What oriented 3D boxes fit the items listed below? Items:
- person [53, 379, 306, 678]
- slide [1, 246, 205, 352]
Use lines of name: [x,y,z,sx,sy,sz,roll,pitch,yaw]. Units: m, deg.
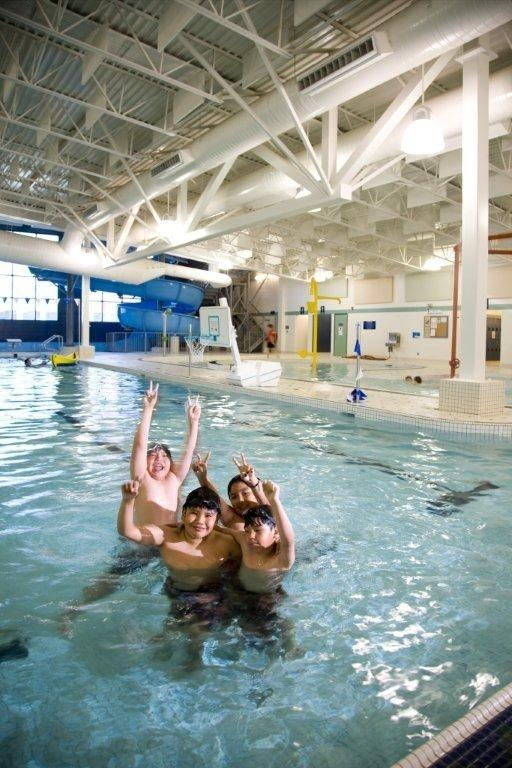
person: [-0.338,0.509,2.483,0.872,0.919,1.305,-2,6,-28]
slide: [-7.703,-3.365,24.673,7.551,2.862,5.659,-1,6,-19]
